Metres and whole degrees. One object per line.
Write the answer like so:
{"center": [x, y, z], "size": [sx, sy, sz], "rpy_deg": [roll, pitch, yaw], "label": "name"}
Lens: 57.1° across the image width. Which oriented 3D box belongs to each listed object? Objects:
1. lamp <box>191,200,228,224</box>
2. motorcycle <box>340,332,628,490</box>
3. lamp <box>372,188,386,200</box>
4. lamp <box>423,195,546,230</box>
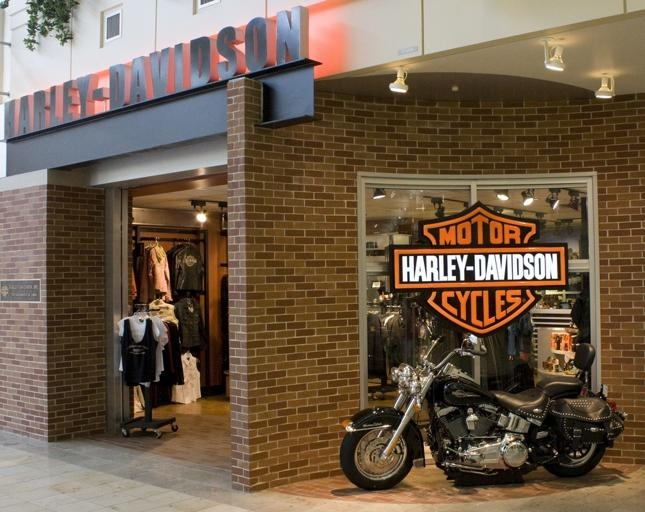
{"center": [-2.192, -0.856, 10.950], "size": [0.546, 0.432, 0.115], "rpy_deg": [-3, 34, -10], "label": "lamp"}
{"center": [1.633, 1.560, 5.859], "size": [2.969, 1.273, 0.966], "rpy_deg": [2, -12, -12], "label": "motorcycle"}
{"center": [0.641, -0.694, 6.619], "size": [0.124, 0.115, 0.137], "rpy_deg": [-4, -11, 37], "label": "lamp"}
{"center": [1.809, -0.449, 6.708], "size": [1.355, 0.337, 0.087], "rpy_deg": [-1, -4, -5], "label": "lamp"}
